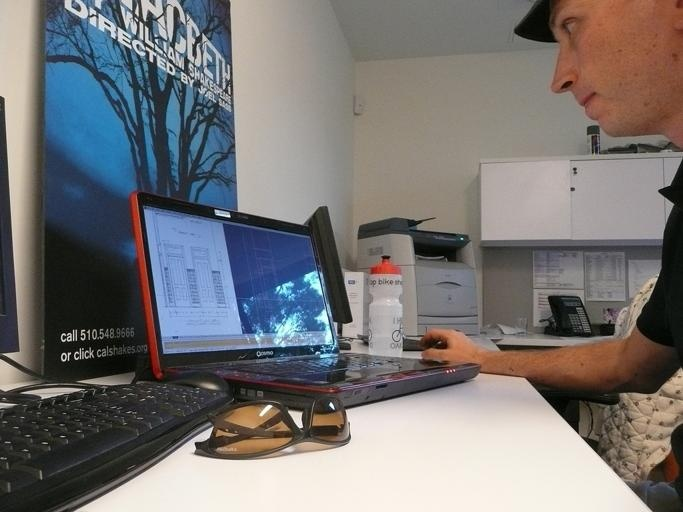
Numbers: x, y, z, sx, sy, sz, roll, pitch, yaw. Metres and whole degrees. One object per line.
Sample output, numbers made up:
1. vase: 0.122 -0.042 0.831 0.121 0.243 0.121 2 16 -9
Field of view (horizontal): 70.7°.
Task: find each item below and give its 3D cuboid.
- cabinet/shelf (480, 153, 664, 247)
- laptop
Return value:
1. cabinet/shelf: 1.354 -0.325 3.144 1.184 0.541 0.615 -1 1 -1
2. laptop: -0.129 0.075 0.962 0.453 0.329 0.575 -4 -6 28
